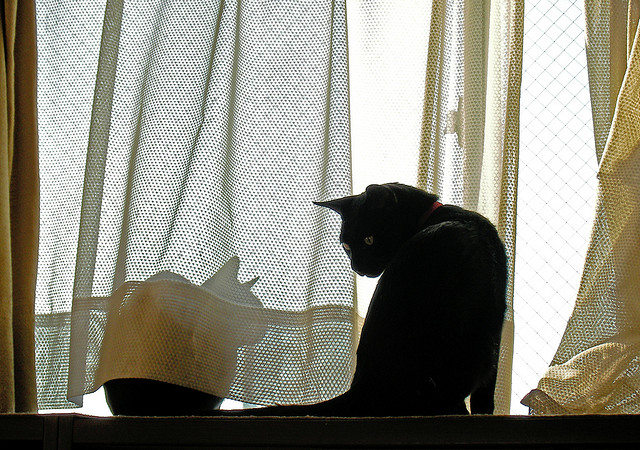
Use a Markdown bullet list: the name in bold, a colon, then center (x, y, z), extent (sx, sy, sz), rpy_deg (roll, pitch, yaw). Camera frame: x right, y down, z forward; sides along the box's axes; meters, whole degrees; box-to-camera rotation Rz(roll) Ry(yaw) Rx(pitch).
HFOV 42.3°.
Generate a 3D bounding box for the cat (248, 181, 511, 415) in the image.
- **cat**: center (0.183, 0.149, 1.809), extent (0.446, 0.539, 0.169), rpy_deg (-7, -23, 14)

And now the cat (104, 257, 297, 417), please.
- **cat**: center (-0.331, 0.256, 1.971), extent (0.364, 0.387, 0.227), rpy_deg (20, -39, -24)

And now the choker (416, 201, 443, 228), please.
- **choker**: center (0.246, -0.028, 1.858), extent (0.061, 0.061, 0.022), rpy_deg (-3, -23, 4)
